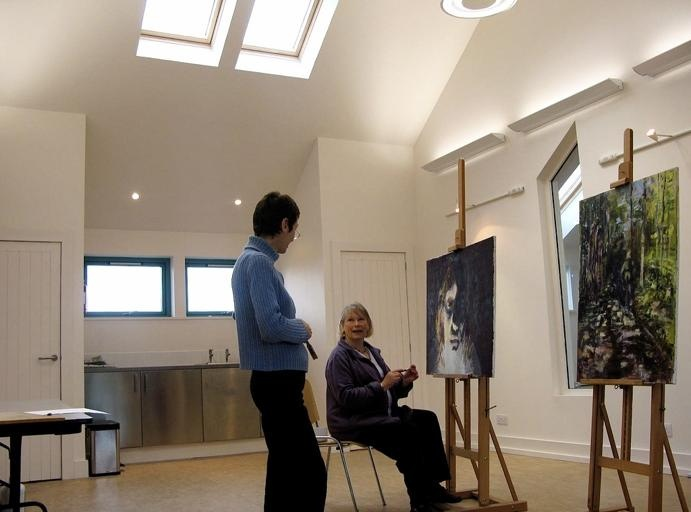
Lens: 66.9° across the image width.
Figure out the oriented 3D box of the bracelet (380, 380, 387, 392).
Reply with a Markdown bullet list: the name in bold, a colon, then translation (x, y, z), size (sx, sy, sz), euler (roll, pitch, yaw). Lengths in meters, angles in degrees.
- **bracelet**: translation (0.249, 0.848, 3.440), size (0.050, 0.057, 0.046), euler (-3, 4, -25)

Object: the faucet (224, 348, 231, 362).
- **faucet**: translation (-1.615, 1.361, 7.182), size (0.112, 0.199, 0.127), euler (0, -4, -24)

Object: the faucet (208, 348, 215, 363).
- **faucet**: translation (-1.840, 1.350, 7.164), size (0.071, 0.195, 0.125), euler (-5, -10, 8)

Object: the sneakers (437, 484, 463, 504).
- **sneakers**: translation (0.676, 1.580, 3.499), size (0.079, 0.115, 0.249), euler (7, -17, -34)
